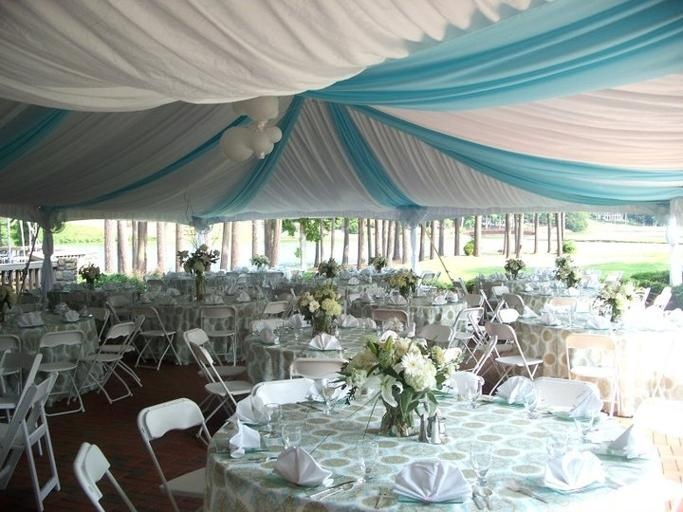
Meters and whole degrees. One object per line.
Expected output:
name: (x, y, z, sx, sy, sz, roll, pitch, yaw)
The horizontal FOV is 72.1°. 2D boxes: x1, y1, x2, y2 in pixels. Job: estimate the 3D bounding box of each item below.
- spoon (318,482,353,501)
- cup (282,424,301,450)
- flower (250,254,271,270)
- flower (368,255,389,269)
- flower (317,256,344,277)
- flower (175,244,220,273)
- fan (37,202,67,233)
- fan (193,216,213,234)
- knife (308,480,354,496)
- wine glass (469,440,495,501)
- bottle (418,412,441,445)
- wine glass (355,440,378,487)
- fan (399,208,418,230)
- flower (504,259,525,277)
spoon: (-0.031, 1.074, 2.140, 0.031, 0.023, 0.199, -5, 0, 36)
cup: (-0.250, 0.907, 2.352, 0.096, 0.122, 0.077, -1, 4, -10)
flower: (-2.579, 0.176, 14.764, 0.530, 0.444, 0.520, 0, -9, 5)
flower: (1.000, 0.180, 13.316, 0.453, 0.382, 0.459, -1, 0, 21)
flower: (-0.245, 0.238, 10.230, 0.507, 0.493, 0.447, 0, -1, 11)
flower: (-2.450, 0.064, 8.061, 0.614, 0.450, 0.601, 1, -17, -7)
fan: (-6.963, -0.877, 11.278, 0.560, 0.637, 0.494, -4, 5, -40)
fan: (-4.004, -0.895, 13.431, 0.344, 0.464, 0.991, 0, 3, 18)
knife: (-0.038, 1.070, 2.156, 0.233, 0.017, 0.060, -4, 6, -39)
wine glass: (0.647, 0.969, 2.171, 0.095, 0.199, 0.218, 0, 4, 17)
bottle: (0.493, 0.957, 2.627, 0.118, 0.155, 0.076, 0, 4, 8)
wine glass: (0.127, 0.955, 2.287, 0.092, 0.210, 0.228, -1, 3, 4)
fan: (1.655, -0.935, 11.684, 0.480, 0.462, 0.161, 21, 20, 30)
flower: (4.323, 0.283, 11.769, 0.466, 0.447, 0.443, -1, 0, -7)
